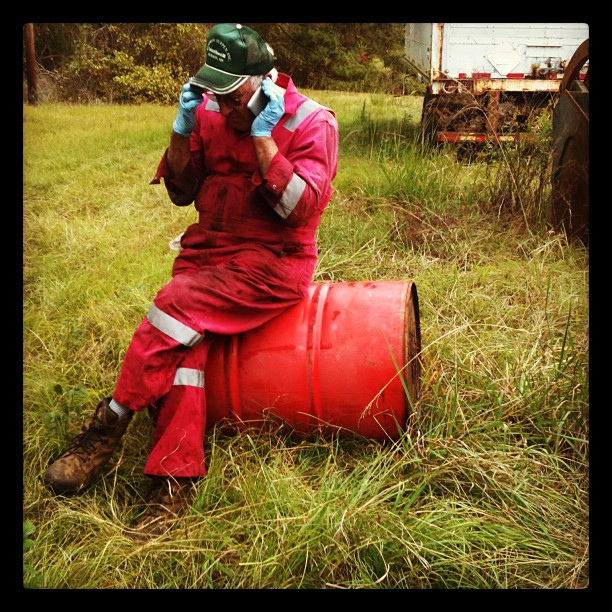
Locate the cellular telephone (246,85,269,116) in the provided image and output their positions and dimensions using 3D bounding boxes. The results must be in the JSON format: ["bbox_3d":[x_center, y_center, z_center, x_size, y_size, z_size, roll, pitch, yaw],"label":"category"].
[{"bbox_3d":[-0.196,-0.852,2.359,0.092,0.120,0.042,4,18,-5],"label":"cellular telephone"}]

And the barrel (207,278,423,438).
[{"bbox_3d":[0.078,0.315,2.729,1.113,0.747,0.762,-2,43,8],"label":"barrel"}]

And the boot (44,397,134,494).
[{"bbox_3d":[-0.913,0.614,2.448,0.137,0.186,0.412,32,60,-1],"label":"boot"}]

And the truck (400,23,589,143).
[{"bbox_3d":[2.010,-2.417,5.857,1.101,1.281,2.101,0,22,17],"label":"truck"}]

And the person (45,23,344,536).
[{"bbox_3d":[-0.407,-0.142,2.385,0.737,1.977,0.983,13,19,22],"label":"person"}]
